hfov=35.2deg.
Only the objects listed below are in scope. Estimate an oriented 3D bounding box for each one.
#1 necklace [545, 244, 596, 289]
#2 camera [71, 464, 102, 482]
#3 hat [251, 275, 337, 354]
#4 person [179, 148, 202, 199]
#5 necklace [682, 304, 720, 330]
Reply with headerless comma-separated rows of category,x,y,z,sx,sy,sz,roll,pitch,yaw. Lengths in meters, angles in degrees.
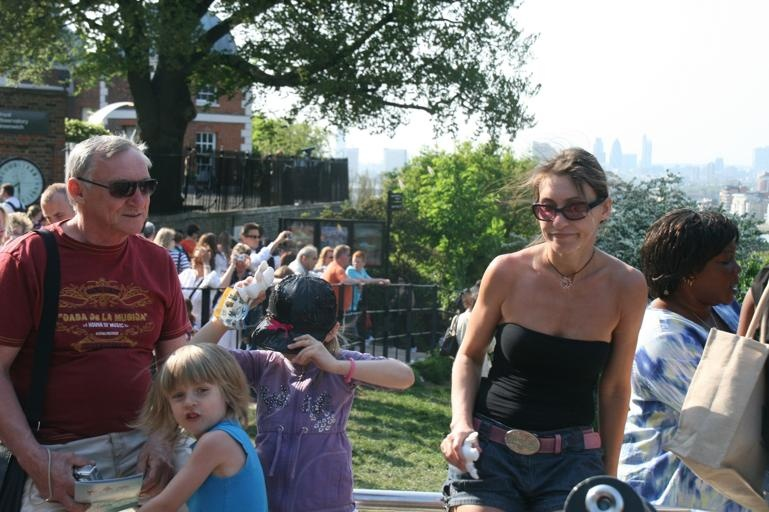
necklace,1.780,0.085,11.744,0.271,0.448,0.097,0,7,8
camera,-2.888,2.094,11.617,0.181,0.164,0.208,-2,3,10
hat,-0.890,0.589,11.871,0.604,0.515,0.804,27,38,32
person,-4.816,-2.113,29.934,0.311,1.102,0.281,0,-3,11
necklace,3.211,0.648,12.324,0.337,0.252,0.220,11,11,-29
